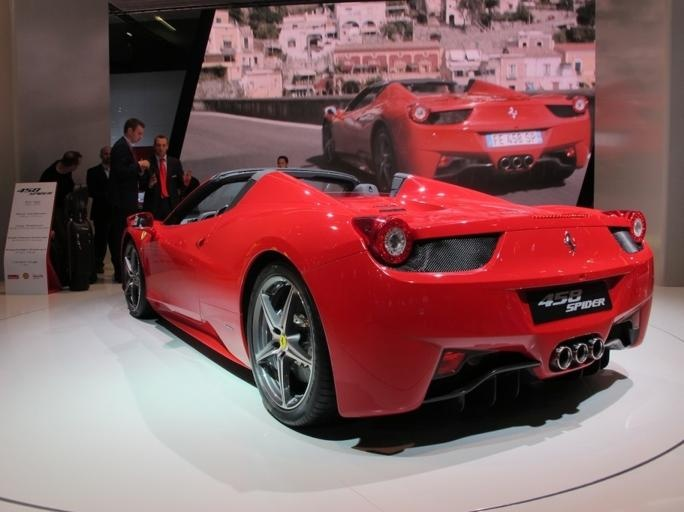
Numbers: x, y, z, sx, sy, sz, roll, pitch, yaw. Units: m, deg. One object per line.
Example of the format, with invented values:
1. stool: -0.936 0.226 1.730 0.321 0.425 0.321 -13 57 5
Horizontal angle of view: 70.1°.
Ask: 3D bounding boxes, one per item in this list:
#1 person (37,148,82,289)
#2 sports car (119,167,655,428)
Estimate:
1. person: -3.829 -0.534 6.619 0.357 1.720 0.980 3 -3 1
2. sports car: 0.031 0.136 2.970 3.018 1.329 1.351 7 14 38
